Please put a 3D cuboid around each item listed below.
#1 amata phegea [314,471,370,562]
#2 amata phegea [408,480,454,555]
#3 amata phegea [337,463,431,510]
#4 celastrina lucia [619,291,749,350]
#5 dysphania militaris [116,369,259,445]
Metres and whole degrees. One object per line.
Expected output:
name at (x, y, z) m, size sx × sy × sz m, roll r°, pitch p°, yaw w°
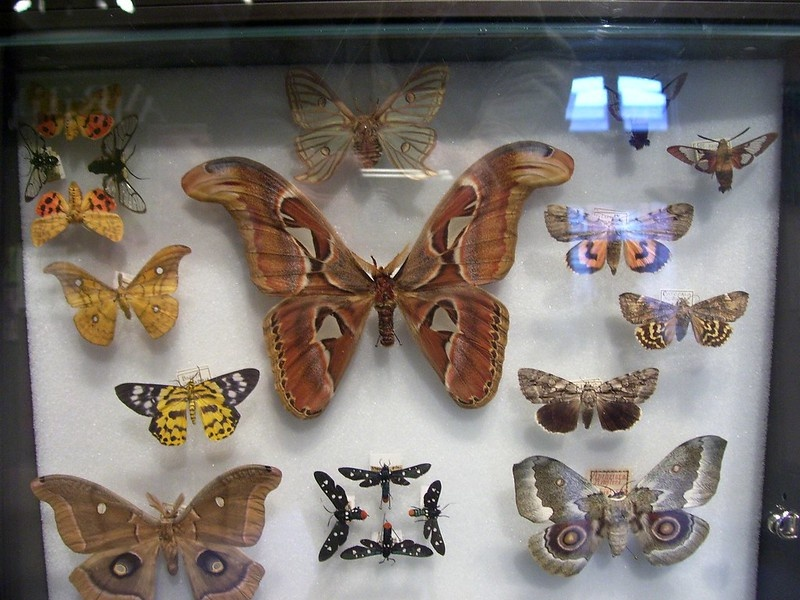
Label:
amata phegea at (-0.266, 0.923, 3.847) m, size 0.299 × 0.527 × 0.119 m, roll -3°, pitch -3°, yaw -2°
amata phegea at (0.134, 0.936, 3.860) m, size 0.248 × 0.377 × 0.098 m, roll -1°, pitch -5°, yaw 0°
amata phegea at (-0.067, 0.766, 3.746) m, size 0.332 × 0.182 × 0.064 m, roll -1°, pitch -4°, yaw 0°
celastrina lucia at (1.211, 0.087, 3.818) m, size 0.539 × 0.238 × 0.110 m, roll 0°, pitch -8°, yaw 2°
dysphania militaris at (-0.878, 0.423, 3.751) m, size 0.556 × 0.298 × 0.258 m, roll -7°, pitch -25°, yaw -12°
